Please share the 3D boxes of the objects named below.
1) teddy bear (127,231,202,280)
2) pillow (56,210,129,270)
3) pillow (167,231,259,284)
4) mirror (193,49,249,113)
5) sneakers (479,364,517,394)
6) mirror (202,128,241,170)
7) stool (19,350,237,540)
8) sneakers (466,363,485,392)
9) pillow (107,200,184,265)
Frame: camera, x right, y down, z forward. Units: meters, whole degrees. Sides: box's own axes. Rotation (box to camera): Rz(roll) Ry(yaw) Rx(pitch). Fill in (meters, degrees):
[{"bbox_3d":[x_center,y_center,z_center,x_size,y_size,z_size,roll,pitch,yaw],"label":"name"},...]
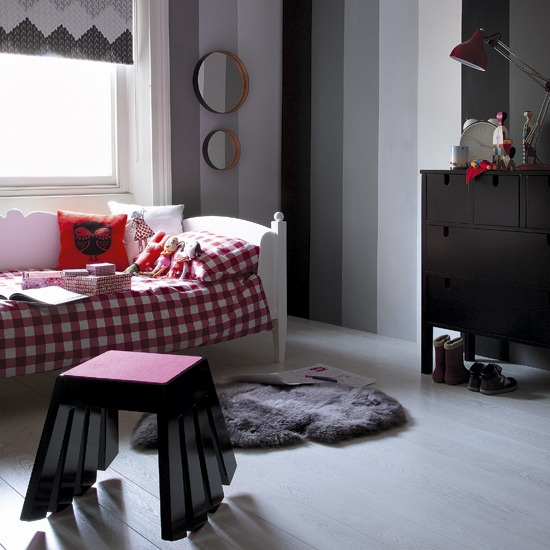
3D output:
[{"bbox_3d":[-0.563,-0.088,2.519,0.295,0.288,0.107,16,-28,34],"label":"teddy bear"},{"bbox_3d":[-1.015,-0.183,2.633,0.355,0.306,0.125,1,-12,-18],"label":"pillow"},{"bbox_3d":[-0.256,-0.092,2.373,0.281,0.086,0.297,-14,27,-31],"label":"pillow"},{"bbox_3d":[-0.366,-1.336,3.291,0.427,0.409,0.103,-10,14,-43],"label":"mirror"},{"bbox_3d":[1.007,0.461,2.128,0.214,0.112,0.083,-3,2,-39],"label":"sneakers"},{"bbox_3d":[-0.386,-0.892,3.360,0.314,0.316,0.088,-4,18,-25],"label":"mirror"},{"bbox_3d":[-0.334,0.393,1.172,0.392,0.374,0.343,1,4,14],"label":"stool"},{"bbox_3d":[0.884,0.452,2.108,0.053,0.061,0.152,2,4,20],"label":"sneakers"},{"bbox_3d":[-0.744,-0.230,2.734,0.407,0.356,0.129,1,-17,-16],"label":"pillow"}]
